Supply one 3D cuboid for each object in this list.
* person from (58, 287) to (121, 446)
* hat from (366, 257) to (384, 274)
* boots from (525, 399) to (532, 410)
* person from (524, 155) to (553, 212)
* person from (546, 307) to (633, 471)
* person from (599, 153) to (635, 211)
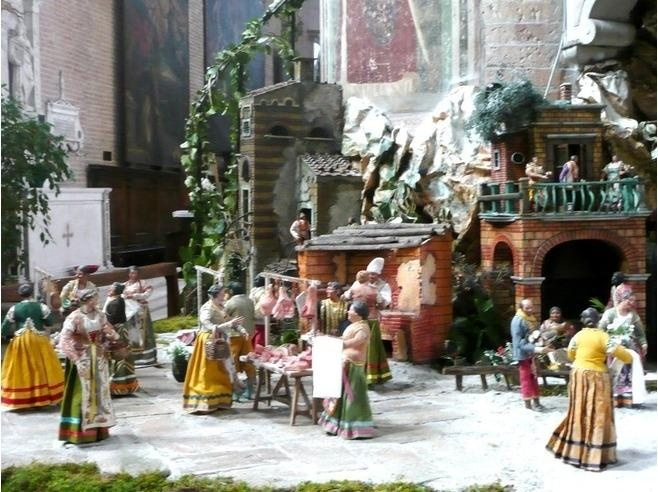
[{"bbox_3d":[-3.614,1.838,13.763,0.860,2.354,0.470,0,-4,-11],"label":"person"},{"bbox_3d":[0.865,0.368,16.538,0.285,0.240,0.345,18,-3,0],"label":"hat"},{"bbox_3d":[3.317,2.653,15.073,0.156,0.125,0.138,-7,2,12],"label":"boots"},{"bbox_3d":[4.366,-1.363,18.745,0.493,1.244,1.723,-1,-3,14],"label":"person"},{"bbox_3d":[3.802,2.230,13.140,1.114,2.027,0.373,-1,-4,13],"label":"person"},{"bbox_3d":[5.887,-1.320,18.395,0.593,1.215,1.212,-1,-3,18],"label":"person"}]
